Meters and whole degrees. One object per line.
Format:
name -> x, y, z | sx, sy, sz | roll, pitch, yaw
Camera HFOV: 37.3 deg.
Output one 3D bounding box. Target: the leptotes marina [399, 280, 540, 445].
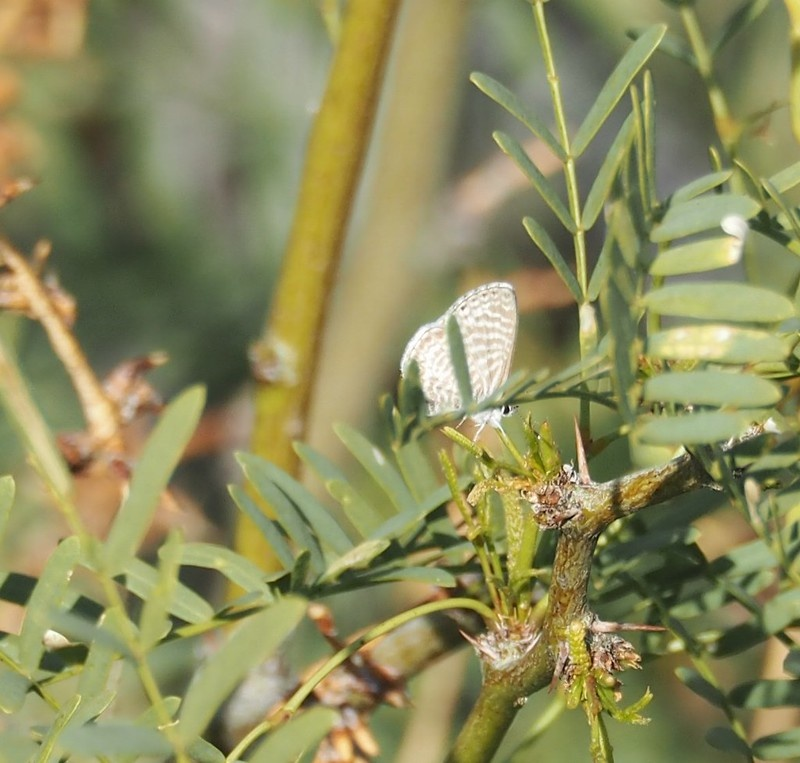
leptotes marina -> 0.080, -0.040, 1.304 | 0.167, 0.145, 0.192 | -8, 3, 4
